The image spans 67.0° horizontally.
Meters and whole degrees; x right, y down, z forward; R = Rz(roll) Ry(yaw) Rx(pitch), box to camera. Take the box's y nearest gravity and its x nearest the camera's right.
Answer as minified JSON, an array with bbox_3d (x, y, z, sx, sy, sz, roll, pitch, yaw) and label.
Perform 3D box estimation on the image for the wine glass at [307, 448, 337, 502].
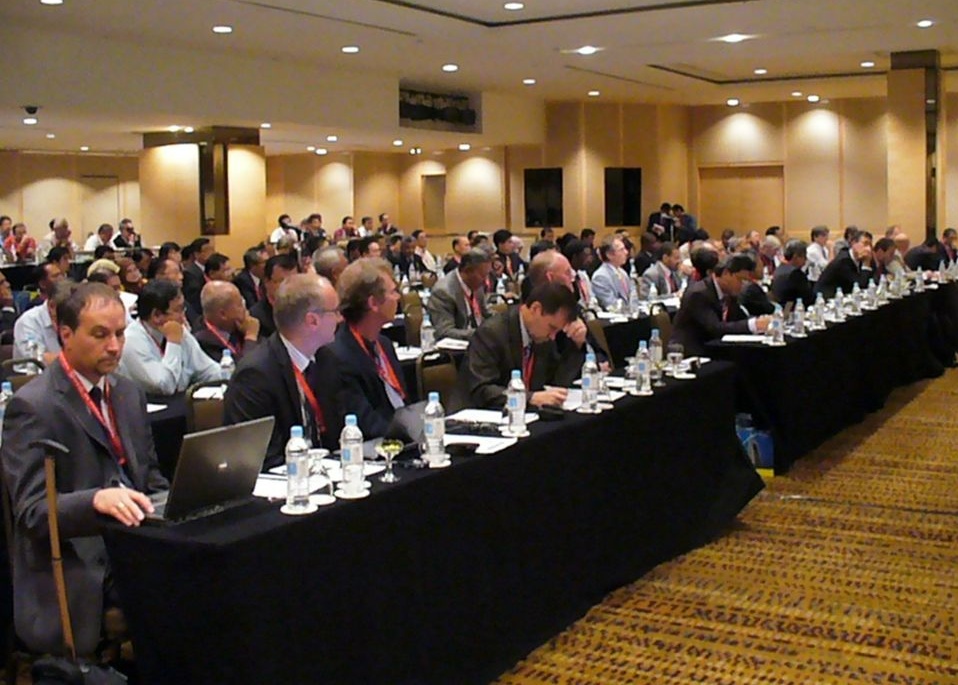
[{"bbox_3d":[-0.573,0.475,2.615,0.134,0.156,0.136,-2,7,-3],"label":"wine glass"}]

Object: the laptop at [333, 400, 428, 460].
[{"bbox_3d":[-0.352,0.330,2.906,0.237,0.170,0.266,3,7,26],"label":"laptop"}]

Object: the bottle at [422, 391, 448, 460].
[{"bbox_3d":[-0.177,0.333,2.855,0.099,0.267,0.230,-2,6,-5],"label":"bottle"}]

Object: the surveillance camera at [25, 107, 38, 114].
[{"bbox_3d":[-6.709,-3.415,10.660,0.117,0.079,0.123,0,1,6],"label":"surveillance camera"}]

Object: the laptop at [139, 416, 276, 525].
[{"bbox_3d":[-0.897,0.389,2.291,0.306,0.265,0.356,3,3,29],"label":"laptop"}]

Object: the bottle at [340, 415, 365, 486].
[{"bbox_3d":[-0.451,0.379,2.532,0.085,0.248,0.191,-3,6,-11],"label":"bottle"}]

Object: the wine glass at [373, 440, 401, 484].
[{"bbox_3d":[-0.339,0.446,2.675,0.113,0.136,0.116,0,2,-17],"label":"wine glass"}]
